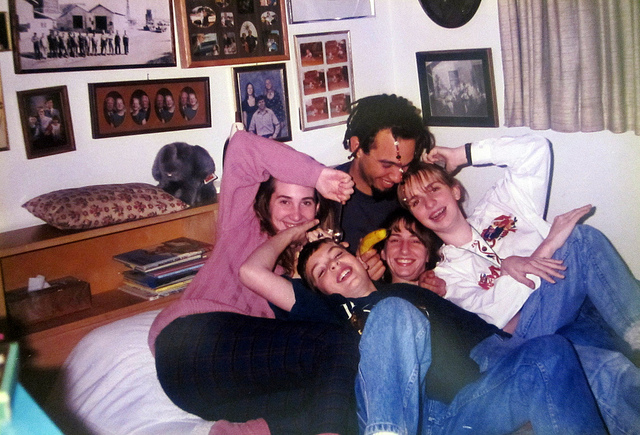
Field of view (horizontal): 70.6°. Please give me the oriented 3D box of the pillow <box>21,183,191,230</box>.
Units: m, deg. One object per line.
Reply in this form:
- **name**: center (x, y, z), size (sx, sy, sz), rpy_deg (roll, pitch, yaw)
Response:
- **pillow**: center (-1.265, -0.083, 2.703), size (0.851, 0.216, 0.304), rpy_deg (-12, 14, -33)

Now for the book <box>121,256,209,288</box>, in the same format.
- **book**: center (-1.091, 0.316, 2.906), size (0.472, 0.090, 0.486), rpy_deg (-7, 4, -15)
